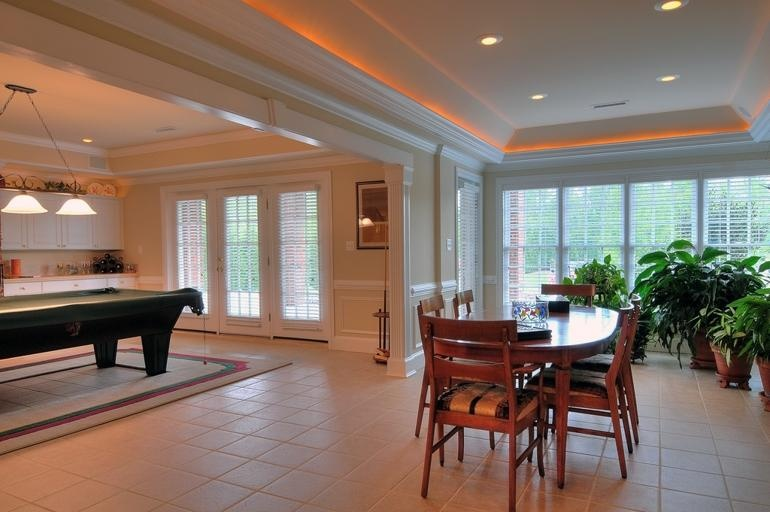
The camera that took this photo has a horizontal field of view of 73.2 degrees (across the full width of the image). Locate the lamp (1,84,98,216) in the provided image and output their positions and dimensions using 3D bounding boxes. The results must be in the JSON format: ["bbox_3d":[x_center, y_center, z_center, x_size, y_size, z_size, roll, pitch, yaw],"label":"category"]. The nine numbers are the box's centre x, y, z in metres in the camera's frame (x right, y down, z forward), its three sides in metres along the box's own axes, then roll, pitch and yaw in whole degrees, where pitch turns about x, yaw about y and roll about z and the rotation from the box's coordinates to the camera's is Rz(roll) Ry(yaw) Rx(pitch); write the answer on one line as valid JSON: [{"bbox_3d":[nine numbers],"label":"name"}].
[{"bbox_3d":[-4.719,-1.491,7.199,0.508,1.146,1.718,-2,0,31],"label":"lamp"}]

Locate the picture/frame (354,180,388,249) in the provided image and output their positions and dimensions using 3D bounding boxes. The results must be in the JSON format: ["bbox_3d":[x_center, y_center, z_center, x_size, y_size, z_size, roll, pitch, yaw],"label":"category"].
[{"bbox_3d":[-0.211,-0.571,7.342,0.597,0.982,0.224,8,19,27],"label":"picture/frame"}]
